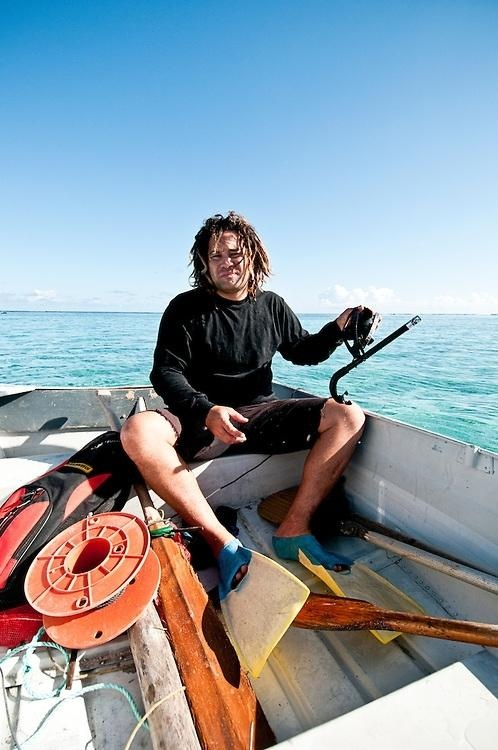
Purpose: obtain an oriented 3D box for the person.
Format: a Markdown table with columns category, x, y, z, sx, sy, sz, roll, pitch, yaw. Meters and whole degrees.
| category | x | y | z | sx | sy | sz | roll | pitch | yaw |
| --- | --- | --- | --- | --- | --- | --- | --- | --- | --- |
| person | -0.082 | 0.008 | 2.194 | 1.152 | 1.531 | 0.986 | -2 | 0 | -43 |
